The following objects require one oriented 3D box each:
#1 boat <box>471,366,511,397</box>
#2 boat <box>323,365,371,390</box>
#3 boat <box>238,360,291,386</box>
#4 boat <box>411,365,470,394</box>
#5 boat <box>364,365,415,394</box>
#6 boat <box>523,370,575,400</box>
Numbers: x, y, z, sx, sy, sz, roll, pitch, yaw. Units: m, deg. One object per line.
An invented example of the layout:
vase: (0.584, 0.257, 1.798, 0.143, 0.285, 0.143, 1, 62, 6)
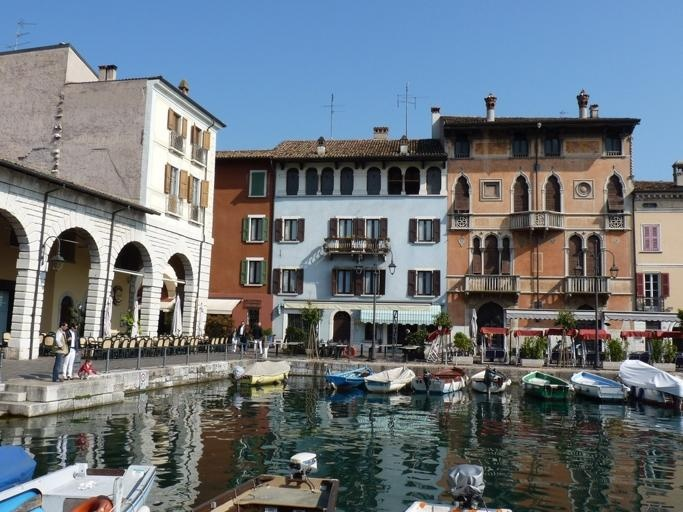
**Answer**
boat: (6.997, 5.899, 33.685, 1.228, 1.231, 1.817, 3, -9, -16)
boat: (0.419, 5.865, 34.336, 0.993, 0.682, 1.839, 2, 1, 44)
boat: (-3.659, 5.574, 34.254, 1.067, 0.562, 1.811, 0, -3, 31)
boat: (4.785, 5.889, 33.646, 2.422, 1.149, 1.559, 7, -11, -37)
boat: (2.291, 5.828, 33.638, 2.293, 1.225, 1.068, 5, -10, -28)
boat: (9.299, 5.979, 32.801, 1.270, 1.135, 2.870, 1, -9, -7)
